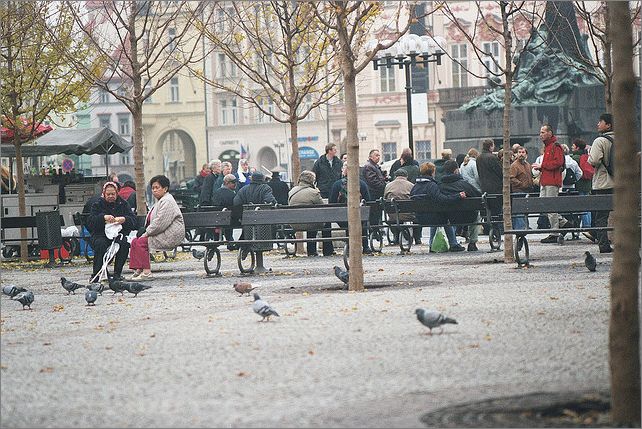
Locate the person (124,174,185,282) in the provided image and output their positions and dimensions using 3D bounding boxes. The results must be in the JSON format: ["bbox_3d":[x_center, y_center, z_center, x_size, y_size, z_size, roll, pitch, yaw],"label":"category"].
[{"bbox_3d":[-4.105,0.310,37.297,1.298,2.580,0.999,0,0,-20],"label":"person"}]

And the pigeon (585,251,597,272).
[{"bbox_3d":[6.372,1.126,35.589,0.196,0.354,0.370,-21,-38,16],"label":"pigeon"}]

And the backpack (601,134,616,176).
[{"bbox_3d":[7.035,-1.441,36.628,0.253,0.830,0.816,-4,1,-1],"label":"backpack"}]

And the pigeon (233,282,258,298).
[{"bbox_3d":[-1.860,1.735,34.892,0.706,0.292,0.231,-5,-2,40],"label":"pigeon"}]

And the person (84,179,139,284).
[{"bbox_3d":[-5.137,0.470,37.237,1.037,2.423,1.132,0,0,-34],"label":"person"}]
